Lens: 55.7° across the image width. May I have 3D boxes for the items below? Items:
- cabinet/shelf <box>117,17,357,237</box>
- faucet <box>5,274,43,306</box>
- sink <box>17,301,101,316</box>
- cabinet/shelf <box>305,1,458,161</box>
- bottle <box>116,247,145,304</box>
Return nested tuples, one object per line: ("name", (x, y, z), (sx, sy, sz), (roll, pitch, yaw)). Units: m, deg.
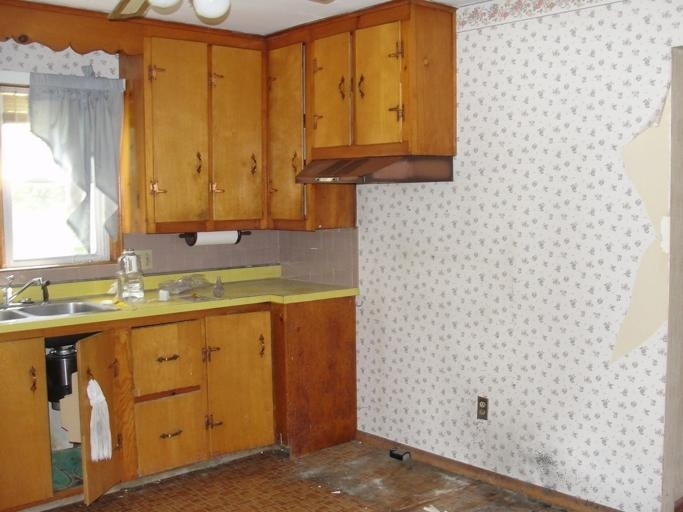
("cabinet/shelf", (-0.686, -0.863, 4.908), (1.917, 1.727, 1.346), (-3, 3, -41))
("faucet", (-1.962, 0.205, 4.033), (0.265, 0.187, 0.283), (-6, 8, -25))
("sink", (-1.778, 0.335, 4.086), (0.235, 0.082, 0.196), (-2, 6, -43))
("cabinet/shelf", (0.292, -1.107, 4.031), (0.419, 0.846, 1.012), (-1, 2, -44))
("bottle", (-1.380, 0.124, 4.202), (0.157, 0.322, 0.131), (-6, 8, -19))
